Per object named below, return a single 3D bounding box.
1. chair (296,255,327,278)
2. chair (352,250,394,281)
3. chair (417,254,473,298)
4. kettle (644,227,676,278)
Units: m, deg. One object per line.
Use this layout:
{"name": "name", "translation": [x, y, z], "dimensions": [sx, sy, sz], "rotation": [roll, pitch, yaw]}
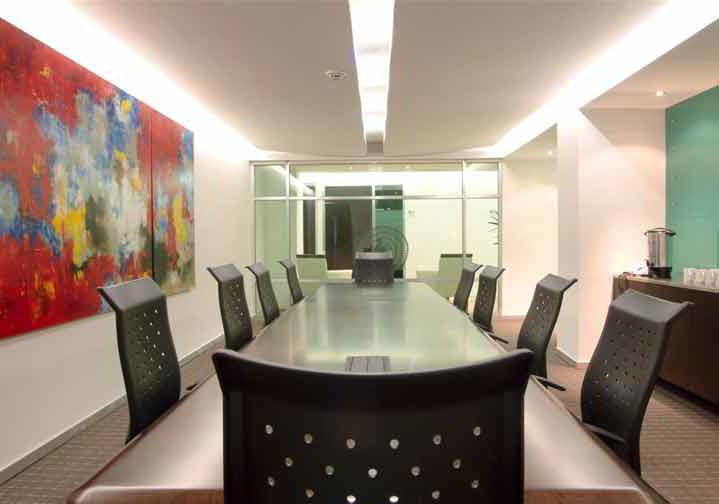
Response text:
{"name": "chair", "translation": [-0.840, 0.255, 8.915], "dimensions": [0.640, 0.667, 0.364], "rotation": [0, 6, 2]}
{"name": "chair", "translation": [0.202, 0.208, 6.617], "dimensions": [0.414, 0.285, 0.439], "rotation": [-1, -3, 6]}
{"name": "chair", "translation": [1.584, 0.359, 9.137], "dimensions": [0.919, 1.123, 0.773], "rotation": [0, 4, 3]}
{"name": "kettle", "translation": [3.273, -0.004, 5.258], "dimensions": [0.256, 0.518, 0.622], "rotation": [5, 7, 33]}
